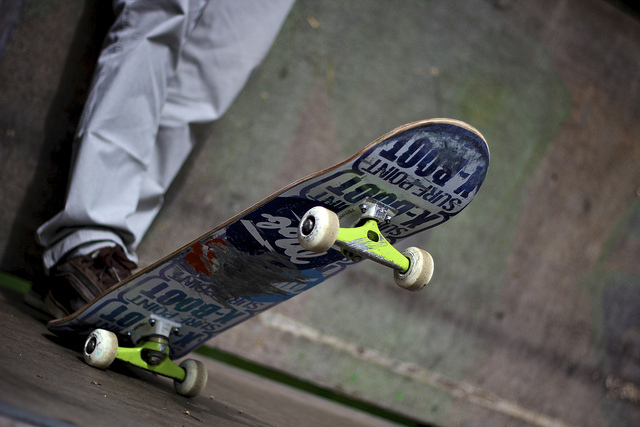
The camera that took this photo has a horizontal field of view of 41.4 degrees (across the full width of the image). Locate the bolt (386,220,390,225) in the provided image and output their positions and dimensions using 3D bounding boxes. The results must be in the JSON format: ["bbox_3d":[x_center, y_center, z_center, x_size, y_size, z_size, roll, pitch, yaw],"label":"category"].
[{"bbox_3d":[0.511,0.060,6.364,0.014,0.009,0.055,5,-23,-7],"label":"bolt"}]

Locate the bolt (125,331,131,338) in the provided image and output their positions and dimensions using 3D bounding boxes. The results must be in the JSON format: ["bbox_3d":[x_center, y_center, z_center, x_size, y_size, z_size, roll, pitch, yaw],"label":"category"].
[{"bbox_3d":[-1.475,0.929,6.546,0.019,0.074,0.011,18,43,-13],"label":"bolt"}]

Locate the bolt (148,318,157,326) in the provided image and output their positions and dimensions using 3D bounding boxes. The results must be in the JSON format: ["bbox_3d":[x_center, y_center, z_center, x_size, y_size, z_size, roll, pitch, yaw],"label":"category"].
[{"bbox_3d":[-1.274,0.827,6.459,0.028,0.060,0.009,12,14,-7],"label":"bolt"}]

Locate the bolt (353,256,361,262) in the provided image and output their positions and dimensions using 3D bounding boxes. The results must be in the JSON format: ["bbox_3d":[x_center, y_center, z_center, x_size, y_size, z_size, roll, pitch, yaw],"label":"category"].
[{"bbox_3d":[0.286,0.344,6.443,0.020,0.012,0.073,8,-27,-12],"label":"bolt"}]
